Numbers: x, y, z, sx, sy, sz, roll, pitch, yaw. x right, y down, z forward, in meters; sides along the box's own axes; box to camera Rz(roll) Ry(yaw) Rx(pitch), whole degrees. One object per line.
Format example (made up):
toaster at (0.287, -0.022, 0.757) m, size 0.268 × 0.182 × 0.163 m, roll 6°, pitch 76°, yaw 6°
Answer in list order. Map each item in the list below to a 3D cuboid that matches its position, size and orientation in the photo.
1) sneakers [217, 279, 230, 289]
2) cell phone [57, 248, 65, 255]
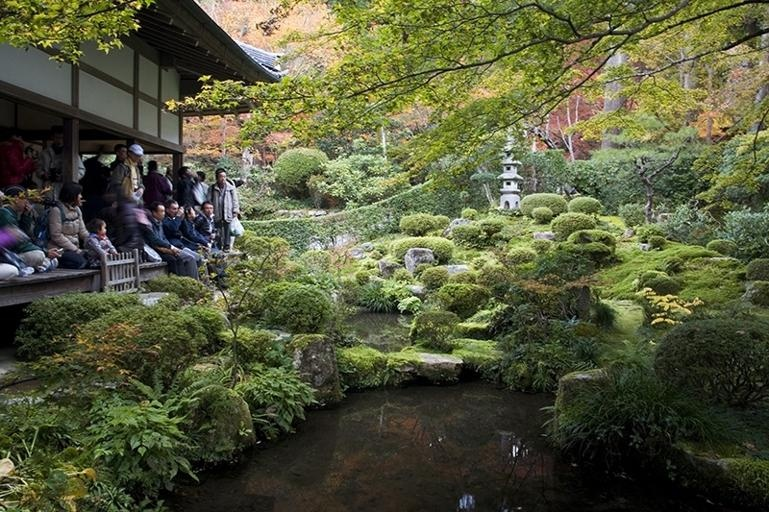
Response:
sneakers at (-3.079, 0.508, 10.328) m, size 0.252 × 0.141 × 0.308 m, roll -3°, pitch -7°, yaw 36°
cell phone at (-5.189, -0.088, 8.672) m, size 0.108 × 0.109 × 0.224 m, roll -5°, pitch 5°, yaw -28°
